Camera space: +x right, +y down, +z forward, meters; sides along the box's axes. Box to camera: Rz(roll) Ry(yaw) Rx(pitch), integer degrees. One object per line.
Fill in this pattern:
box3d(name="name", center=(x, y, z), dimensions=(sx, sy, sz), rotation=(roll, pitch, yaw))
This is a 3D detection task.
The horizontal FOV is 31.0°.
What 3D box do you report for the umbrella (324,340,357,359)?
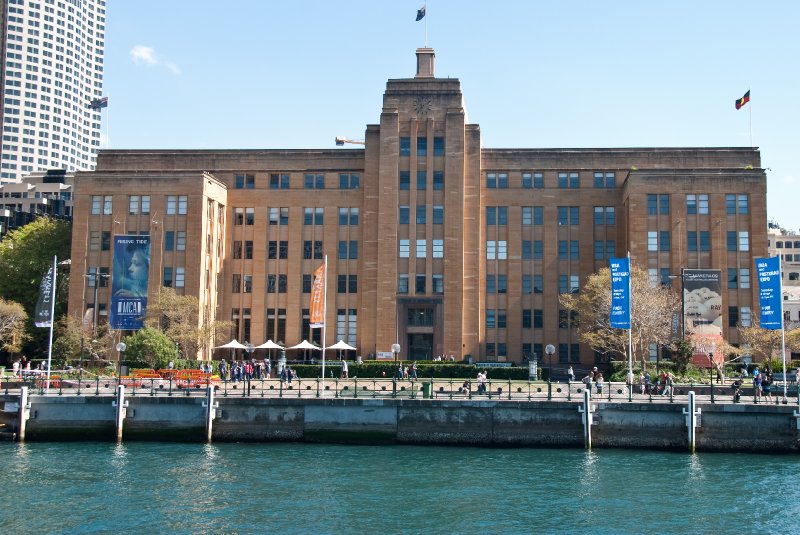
box3d(name="umbrella", center=(-8.720, 11.647, 206.572), dimensions=(3.809, 2.022, 3.664), rotation=(0, -8, -5))
